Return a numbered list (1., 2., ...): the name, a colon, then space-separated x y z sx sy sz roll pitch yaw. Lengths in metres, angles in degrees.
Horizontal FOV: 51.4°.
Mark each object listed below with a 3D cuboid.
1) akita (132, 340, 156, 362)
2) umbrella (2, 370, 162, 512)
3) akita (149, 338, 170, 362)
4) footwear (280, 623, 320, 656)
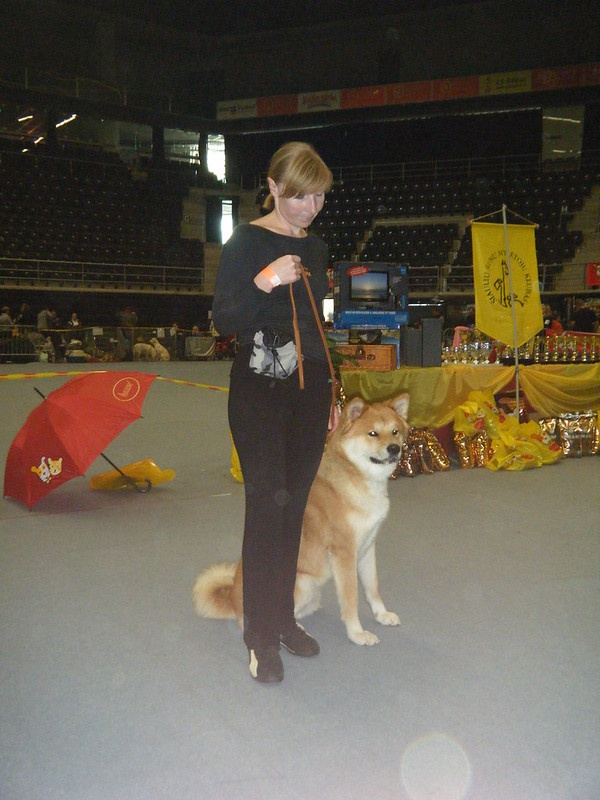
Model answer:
1. akita: -3.957 -1.224 15.760 0.546 0.474 0.283 -1 5 -14
2. umbrella: -1.021 0.267 3.266 0.705 0.715 0.234 -14 -44 41
3. akita: -3.615 -1.274 15.994 0.379 0.756 0.251 6 8 15
4. footwear: -0.003 0.680 1.779 0.061 0.040 0.110 -34 36 -32
